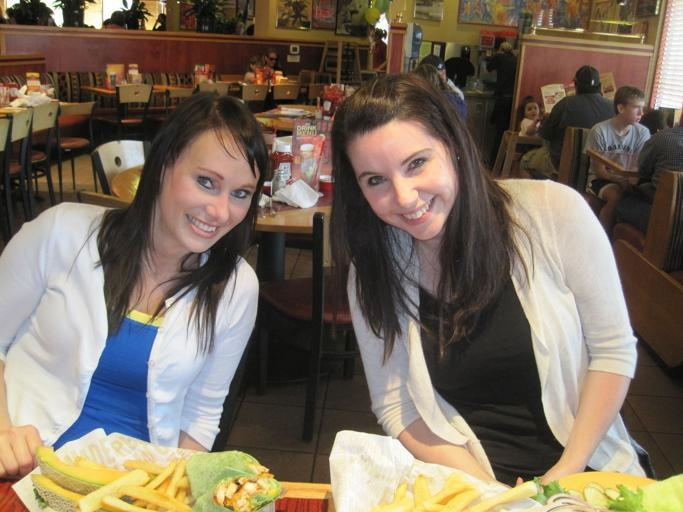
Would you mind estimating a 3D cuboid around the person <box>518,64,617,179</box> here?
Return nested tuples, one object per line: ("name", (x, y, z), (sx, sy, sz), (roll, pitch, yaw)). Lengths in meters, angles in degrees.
("person", (2.418, -1.530, 5.831), (0.750, 1.056, 0.826), (8, 34, 11))

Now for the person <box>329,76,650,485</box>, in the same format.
("person", (0.375, 0.055, 1.484), (0.571, 1.031, 0.719), (-15, 23, -40))

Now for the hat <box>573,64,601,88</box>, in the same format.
("hat", (2.485, -1.806, 5.561), (0.181, 0.290, 0.156), (2, -25, 13))

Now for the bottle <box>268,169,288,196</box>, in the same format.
("bottle", (-0.313, -0.374, 2.737), (0.091, 0.115, 0.118), (-3, 8, -28))
